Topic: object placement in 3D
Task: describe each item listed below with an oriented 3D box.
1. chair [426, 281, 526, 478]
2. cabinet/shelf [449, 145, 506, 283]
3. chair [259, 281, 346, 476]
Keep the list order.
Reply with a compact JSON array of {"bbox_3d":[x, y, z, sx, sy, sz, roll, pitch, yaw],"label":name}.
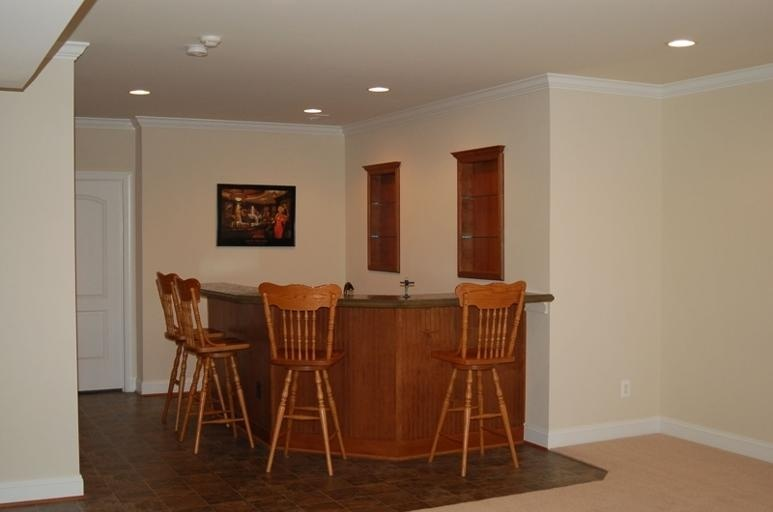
[{"bbox_3d":[0.906,0.993,5.244,1.035,1.616,0.684,-4,8,-35],"label":"chair"},{"bbox_3d":[0.973,-0.439,6.223,0.255,1.378,0.734,-2,7,-23],"label":"cabinet/shelf"},{"bbox_3d":[-0.717,0.983,5.093,0.743,1.565,0.770,0,6,-5],"label":"chair"}]
